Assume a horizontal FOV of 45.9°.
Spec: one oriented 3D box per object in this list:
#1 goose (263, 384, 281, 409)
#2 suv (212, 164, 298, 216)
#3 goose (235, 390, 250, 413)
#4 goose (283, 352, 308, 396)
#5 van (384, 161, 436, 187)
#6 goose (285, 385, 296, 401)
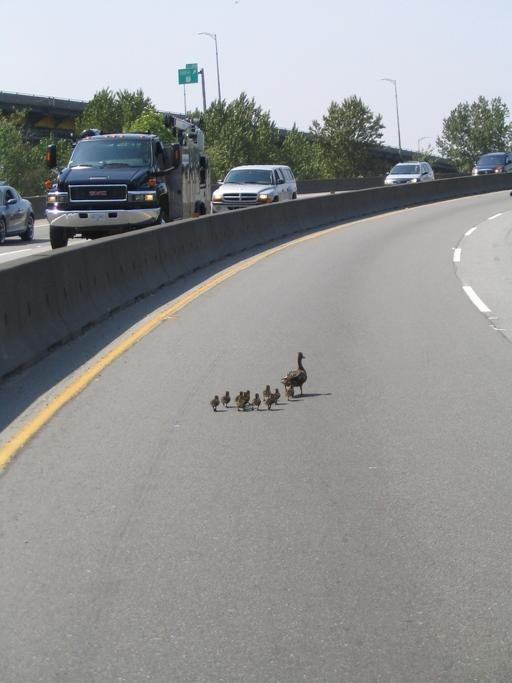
[{"bbox_3d":[0.158,0.607,6.573,0.133,0.273,0.259,0,-12,-1],"label":"goose"},{"bbox_3d":[-0.161,-7.848,30.469,4.063,2.456,3.076,-2,5,-6],"label":"suv"},{"bbox_3d":[-0.138,0.632,6.500,0.152,0.206,0.140,-1,4,-3],"label":"goose"},{"bbox_3d":[0.452,0.361,7.120,0.280,0.497,0.685,-1,5,5],"label":"goose"},{"bbox_3d":[13.153,-14.485,51.639,4.283,2.356,2.838,-5,6,-35],"label":"van"},{"bbox_3d":[0.398,0.574,6.847,0.059,0.230,0.115,-4,-13,17],"label":"goose"}]
